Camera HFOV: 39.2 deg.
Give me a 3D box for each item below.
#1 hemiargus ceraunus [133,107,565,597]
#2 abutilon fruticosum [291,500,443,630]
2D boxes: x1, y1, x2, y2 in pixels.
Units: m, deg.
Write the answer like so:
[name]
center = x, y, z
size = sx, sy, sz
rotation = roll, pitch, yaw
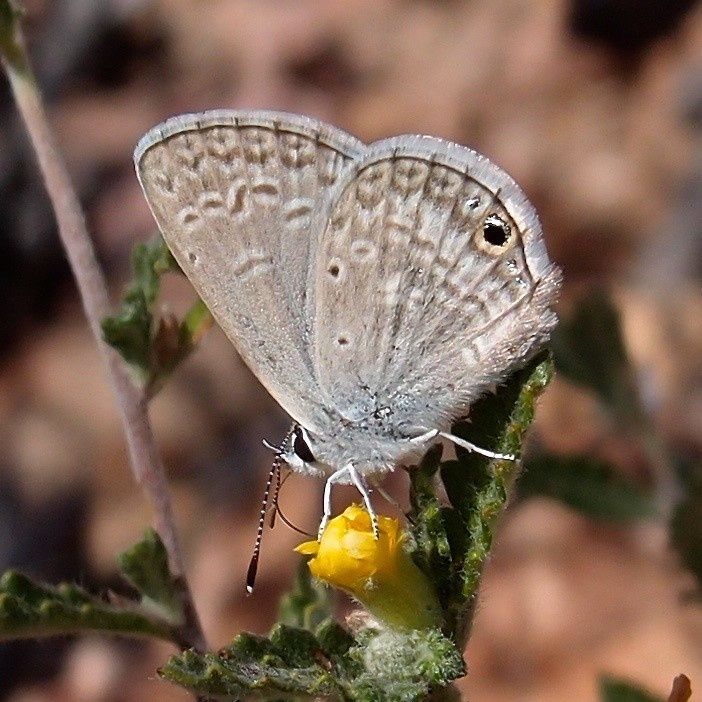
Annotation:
[hemiargus ceraunus]
center = -0.031, -0.039, 2.689
size = 1.142, 0.922, 0.773
rotation = 3, -41, 2
[abutilon fruticosum]
center = 0.053, 0.452, 2.455
size = 0.223, 0.117, 0.239
rotation = 4, -14, -19
